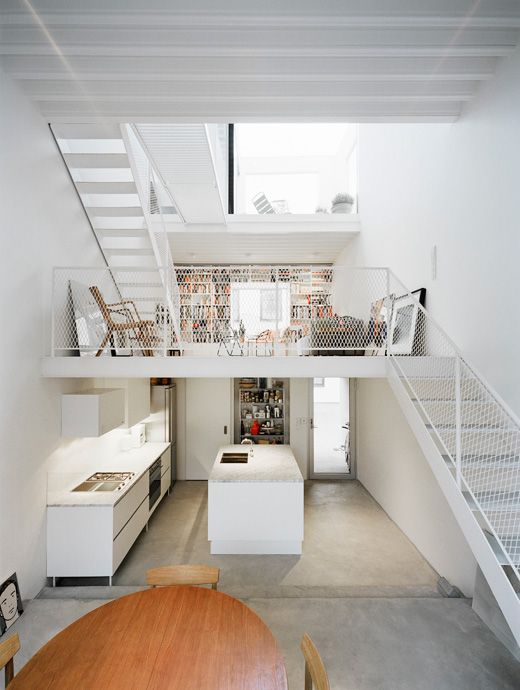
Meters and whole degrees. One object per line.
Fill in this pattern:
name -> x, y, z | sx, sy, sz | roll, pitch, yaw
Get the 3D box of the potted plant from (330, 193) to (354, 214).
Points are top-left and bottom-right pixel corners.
potted plant -> 1.260, -2.119, 7.235 | 0.285, 0.303, 0.299 | 9, 12, 41

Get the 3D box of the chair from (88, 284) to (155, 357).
chair -> -1.450, -0.240, 5.169 | 0.615, 0.724, 1.936 | 1, -3, -13

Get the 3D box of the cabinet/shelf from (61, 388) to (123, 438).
cabinet/shelf -> -1.598, 0.642, 4.603 | 0.393, 0.442, 0.585 | 1, -2, 6

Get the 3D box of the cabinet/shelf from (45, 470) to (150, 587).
cabinet/shelf -> -1.512, 1.736, 4.593 | 0.546, 0.792, 1.006 | 0, -2, 8
